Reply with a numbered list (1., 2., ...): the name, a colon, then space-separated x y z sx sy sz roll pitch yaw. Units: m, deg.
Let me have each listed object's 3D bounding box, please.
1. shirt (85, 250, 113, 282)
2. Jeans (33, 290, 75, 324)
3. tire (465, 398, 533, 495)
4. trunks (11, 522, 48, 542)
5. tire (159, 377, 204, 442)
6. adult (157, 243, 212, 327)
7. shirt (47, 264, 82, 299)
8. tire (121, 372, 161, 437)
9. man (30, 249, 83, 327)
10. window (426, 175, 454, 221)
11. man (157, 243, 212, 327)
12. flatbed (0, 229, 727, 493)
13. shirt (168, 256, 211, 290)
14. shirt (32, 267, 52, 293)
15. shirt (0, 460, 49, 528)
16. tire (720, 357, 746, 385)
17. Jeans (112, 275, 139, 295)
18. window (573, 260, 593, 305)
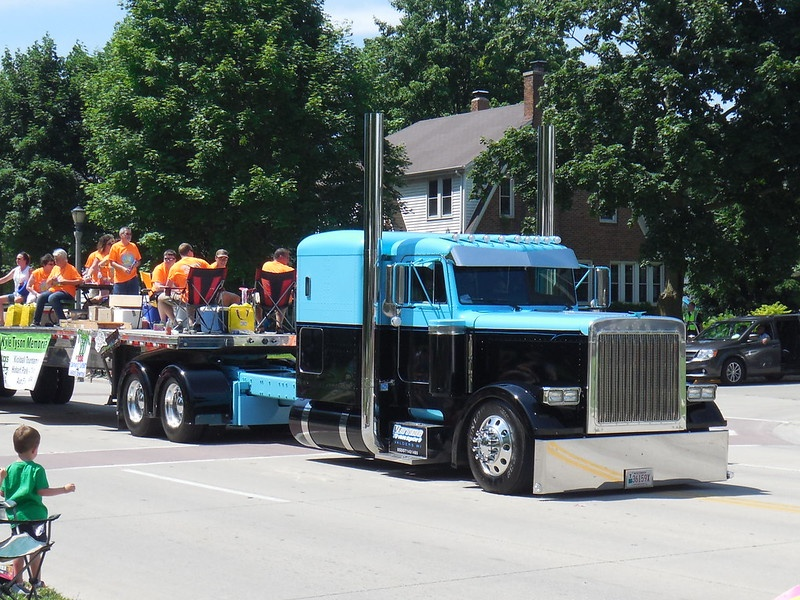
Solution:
1. shirt: -5.781 -0.648 22.912 0.350 0.610 0.623 -4 6 -31
2. Jeans: -6.514 0.127 22.547 0.721 0.708 0.591 -3 -7 36
3. tire: 1.357 1.906 15.615 0.573 1.265 1.239 2 -2 -37
4. trunks: -3.493 2.204 11.291 0.289 0.182 0.227 -1 6 -19
5. tire: -3.631 1.763 19.887 0.327 0.911 0.922 -13 -17 -11
6. adult: -3.677 -0.225 20.391 0.872 1.518 0.769 2 5 15
7. shirt: -6.400 -0.350 22.615 0.581 0.535 0.326 6 -9 14
8. tire: -4.396 1.765 20.352 0.374 1.057 1.035 1 3 -32
9. man: -6.524 -0.239 22.614 0.978 1.454 0.750 0 -1 0
10. window: 1.679 -4.220 49.075 0.269 1.683 1.723 -3 6 -27
11. man: -3.631 -0.229 20.403 0.908 1.575 0.858 4 5 28
12. flatbed: -1.964 1.025 20.238 3.826 3.756 13.537 1 -1 -36
13. shirt: -3.656 -0.464 20.247 0.757 0.746 0.567 3 -8 3
14. shirt: -6.911 -0.383 23.005 0.485 0.465 0.258 1 -3 -20
15. shirt: -3.705 1.862 11.558 0.487 0.541 0.352 1 5 5
16. tire: 8.714 1.812 31.097 0.696 0.698 0.226 -3 9 -31
17. Jeans: -5.102 -0.204 22.391 0.562 0.531 0.305 4 -7 -31
18. window: 2.720 -0.281 17.635 0.031 0.575 0.308 -18 20 -37
